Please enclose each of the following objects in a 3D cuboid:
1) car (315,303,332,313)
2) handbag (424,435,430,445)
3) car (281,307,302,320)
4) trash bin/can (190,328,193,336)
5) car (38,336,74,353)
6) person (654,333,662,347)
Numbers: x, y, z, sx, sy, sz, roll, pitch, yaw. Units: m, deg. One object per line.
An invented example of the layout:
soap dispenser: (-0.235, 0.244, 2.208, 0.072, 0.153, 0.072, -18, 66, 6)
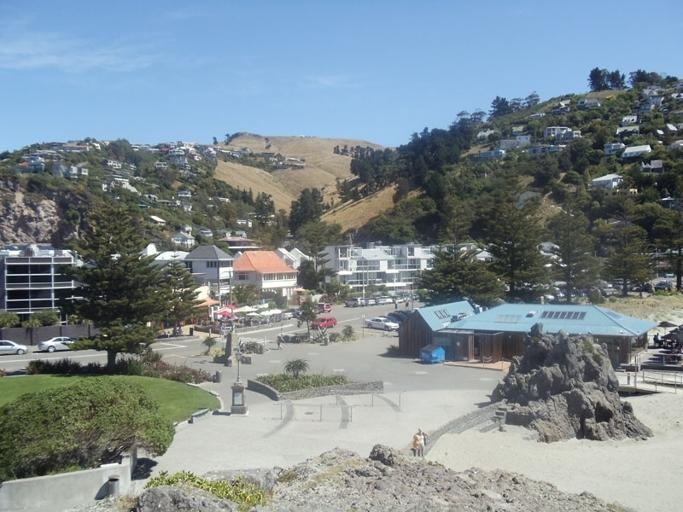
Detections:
car: (-2.344, 7.207, 127.775, 1.724, 0.818, 1.124, -9, 11, -31)
handbag: (7.050, 14.790, 74.775, 0.201, 0.678, 0.762, -2, -17, 25)
car: (-6.589, 7.664, 123.442, 2.573, 0.765, 1.556, 1, 0, 13)
trash bin/can: (-17.736, 8.865, 109.639, 0.465, 1.019, 1.536, -2, -4, -9)
car: (-30.552, 9.358, 98.271, 3.158, 1.572, 2.080, 0, -4, -25)
person: (33.785, 8.812, 97.854, 1.051, 1.425, 0.519, 6, -5, -24)
